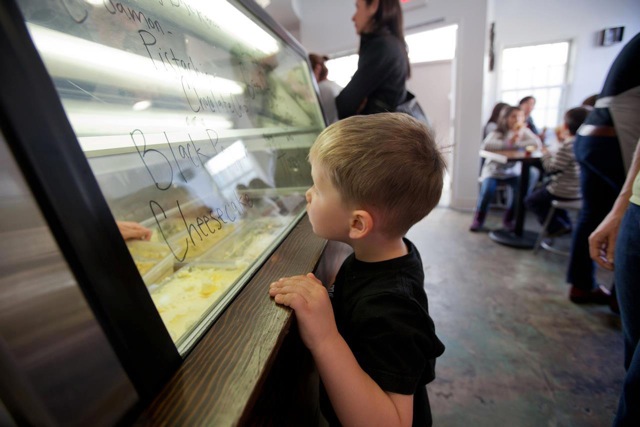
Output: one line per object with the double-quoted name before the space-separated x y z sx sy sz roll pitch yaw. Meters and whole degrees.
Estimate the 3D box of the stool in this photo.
"stool" 1.818 0.119 2.742 0.307 0.436 0.316 22 24 25

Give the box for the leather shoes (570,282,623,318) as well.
"leather shoes" 1.618 0.506 2.118 0.370 0.154 0.134 0 7 12
